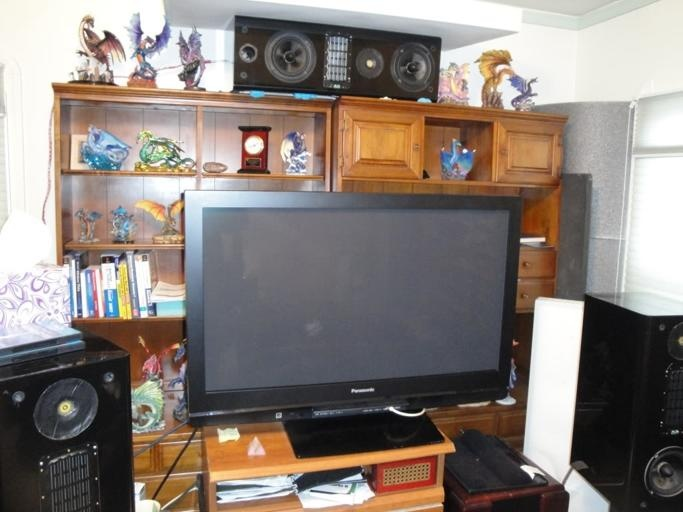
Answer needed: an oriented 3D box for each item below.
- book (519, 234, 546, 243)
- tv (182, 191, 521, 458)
[{"bbox_3d":[1.222,-0.115,3.548,0.143,0.033,0.131,1,13,6],"label":"book"},{"bbox_3d":[0.014,0.257,2.325,1.148,0.795,0.314,-1,12,-11],"label":"tv"}]
